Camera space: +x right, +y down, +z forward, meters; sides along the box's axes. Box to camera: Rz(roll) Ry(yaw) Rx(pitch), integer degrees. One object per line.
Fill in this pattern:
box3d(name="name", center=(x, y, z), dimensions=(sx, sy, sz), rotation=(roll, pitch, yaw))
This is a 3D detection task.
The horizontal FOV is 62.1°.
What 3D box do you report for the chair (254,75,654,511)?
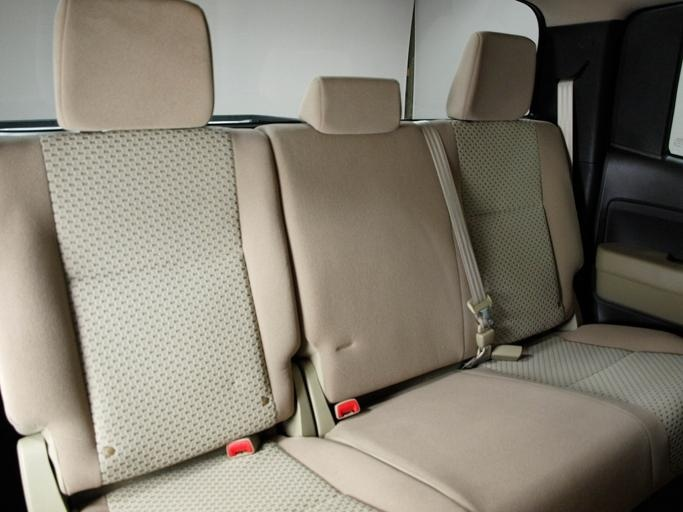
box3d(name="chair", center=(0.409, 0.005, 1.806), dimensions=(0.796, 1.417, 1.089), rotation=(-4, 4, -35))
